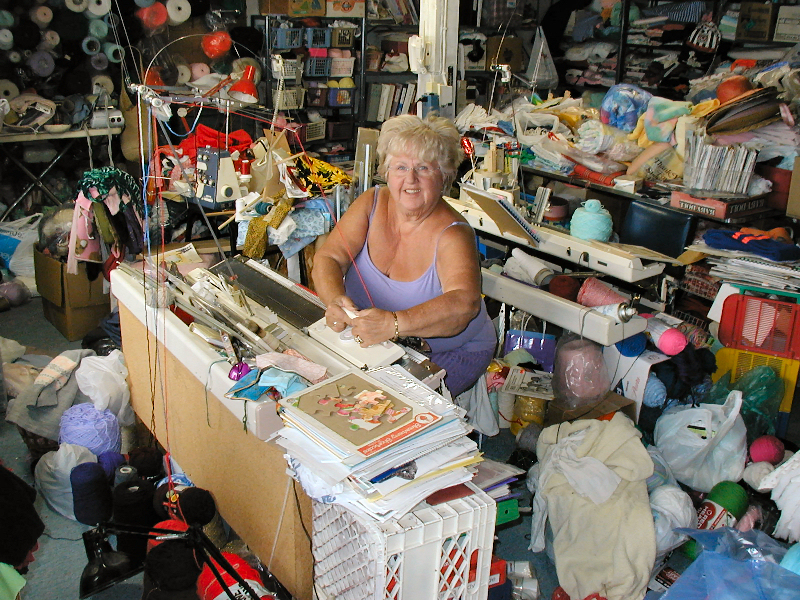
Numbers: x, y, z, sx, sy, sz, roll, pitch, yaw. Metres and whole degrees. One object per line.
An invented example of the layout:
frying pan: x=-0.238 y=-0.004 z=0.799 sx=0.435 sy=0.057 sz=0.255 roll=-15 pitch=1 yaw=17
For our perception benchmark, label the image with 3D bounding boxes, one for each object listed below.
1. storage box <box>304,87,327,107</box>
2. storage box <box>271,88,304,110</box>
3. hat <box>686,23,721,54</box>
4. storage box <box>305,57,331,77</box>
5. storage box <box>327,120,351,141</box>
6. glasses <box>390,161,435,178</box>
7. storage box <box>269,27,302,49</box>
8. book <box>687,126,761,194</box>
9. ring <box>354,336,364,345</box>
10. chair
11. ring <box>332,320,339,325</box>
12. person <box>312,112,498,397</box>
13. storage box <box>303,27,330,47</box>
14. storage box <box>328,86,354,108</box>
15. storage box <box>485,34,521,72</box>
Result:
storage box: x=-0.958 y=-2.282 z=6.433 sx=0.198 sy=0.205 sz=0.207 roll=-1 pitch=26 yaw=-7
storage box: x=-1.166 y=-2.135 z=6.061 sx=0.190 sy=0.237 sz=0.623 roll=3 pitch=20 yaw=5
hat: x=3.269 y=-2.797 z=6.145 sx=0.282 sy=0.291 sz=0.296 roll=33 pitch=56 yaw=29
storage box: x=-0.923 y=-2.561 z=6.293 sx=0.224 sy=0.182 sz=0.232 roll=-2 pitch=22 yaw=-8
storage box: x=-0.717 y=-1.980 z=6.686 sx=0.238 sy=0.153 sz=0.237 roll=-13 pitch=25 yaw=-32
glasses: x=0.044 y=-0.513 z=2.255 sx=0.174 sy=0.059 sz=0.035 roll=5 pitch=20 yaw=9
storage box: x=-1.197 y=-2.738 z=5.979 sx=0.252 sy=0.170 sz=0.260 roll=-6 pitch=33 yaw=-13
book: x=1.977 y=-0.837 z=3.485 sx=0.425 sy=0.376 sz=0.160 roll=12 pitch=1 yaw=21
ring: x=-0.138 y=0.138 z=1.889 sx=0.022 sy=0.010 sz=0.022 roll=41 pitch=9 yaw=-8
chair: x=1.607 y=-0.450 z=3.676 sx=0.471 sy=0.562 sz=0.645 roll=23 pitch=-9 yaw=-26
ring: x=-0.224 y=0.082 z=1.964 sx=0.016 sy=0.006 sz=0.017 roll=-4 pitch=53 yaw=5
person: x=0.001 y=-0.166 z=2.437 sx=0.807 sy=1.092 sz=0.924 roll=-9 pitch=37 yaw=-9
storage box: x=-0.906 y=-2.844 z=6.179 sx=0.225 sy=0.161 sz=0.232 roll=-1 pitch=18 yaw=-8
storage box: x=-0.695 y=-2.319 z=6.560 sx=0.229 sy=0.157 sz=0.238 roll=-1 pitch=24 yaw=-4
storage box: x=1.265 y=-3.053 z=7.002 sx=0.473 sy=0.447 sz=1.416 roll=6 pitch=21 yaw=13
